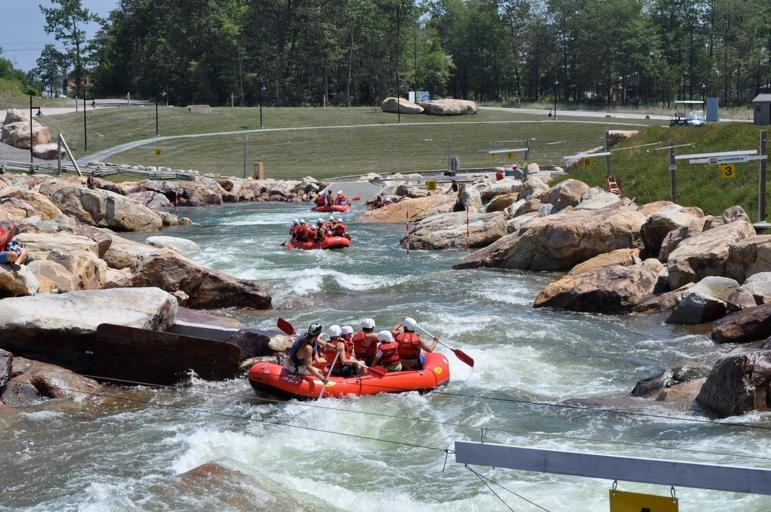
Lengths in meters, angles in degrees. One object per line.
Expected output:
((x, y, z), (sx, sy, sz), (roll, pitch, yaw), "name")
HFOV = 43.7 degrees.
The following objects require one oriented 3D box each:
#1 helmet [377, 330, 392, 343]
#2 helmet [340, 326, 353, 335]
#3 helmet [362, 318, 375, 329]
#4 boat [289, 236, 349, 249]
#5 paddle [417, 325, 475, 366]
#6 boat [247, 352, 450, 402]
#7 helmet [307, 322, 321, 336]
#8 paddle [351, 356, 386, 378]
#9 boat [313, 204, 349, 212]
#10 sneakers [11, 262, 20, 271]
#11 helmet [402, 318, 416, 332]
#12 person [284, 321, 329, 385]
((0.038, 2.351, 28.336), (0.374, 0.320, 0.274), (27, 34, 19), "helmet")
((-1.132, 2.158, 28.318), (0.327, 0.143, 0.213), (-7, 16, -5), "helmet")
((-0.479, 2.005, 28.902), (0.385, 0.266, 0.290), (18, -13, -42), "helmet")
((-3.031, -0.596, 45.250), (2.010, 0.335, 0.968), (-2, 3, 2), "boat")
((1.887, 2.799, 29.949), (2.229, 0.231, 0.146), (28, -3, 19), "paddle")
((-0.980, 3.601, 27.860), (4.352, 0.774, 1.951), (-1, 3, -16), "boat")
((-1.979, 2.099, 27.507), (0.284, 0.297, 0.356), (6, -19, 32), "helmet")
((-0.627, 3.201, 28.069), (1.287, 0.335, 0.411), (7, 3, 35), "paddle")
((-3.291, -2.928, 59.137), (2.146, 0.460, 1.421), (-1, 7, -10), "boat")
((-11.244, 0.315, 29.365), (0.181, 0.126, 0.444), (23, -4, -34), "sneakers")
((0.766, 2.009, 28.613), (0.348, 0.381, 0.424), (4, -12, -37), "helmet")
((-2.295, 2.852, 27.934), (0.890, 1.379, 1.024), (16, 28, -47), "person")
